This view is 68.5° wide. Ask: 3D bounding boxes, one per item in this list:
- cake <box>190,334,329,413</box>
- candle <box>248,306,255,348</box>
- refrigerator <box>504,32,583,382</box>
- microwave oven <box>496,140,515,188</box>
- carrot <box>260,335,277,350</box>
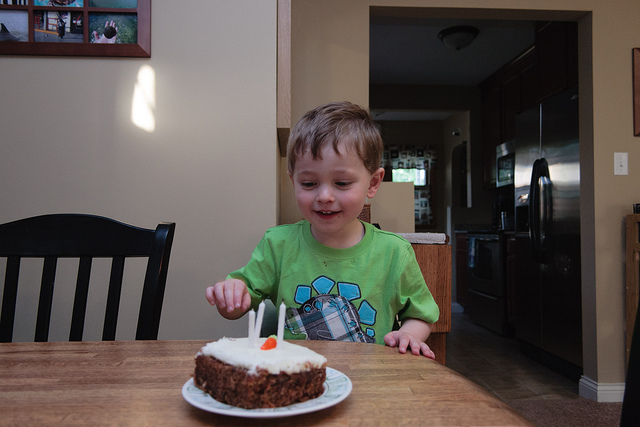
[{"bbox_3d":[-0.150,0.375,1.133,0.343,0.157,0.139,0,1,-1],"label":"cake"},{"bbox_3d":[-0.170,0.284,1.154,0.016,0.093,0.043,-1,2,-9],"label":"candle"},{"bbox_3d":[1.744,-0.085,3.613,0.258,2.520,0.895,0,2,9],"label":"refrigerator"},{"bbox_3d":[2.080,-0.546,5.217,0.126,0.463,0.472,0,1,10],"label":"microwave oven"},{"bbox_3d":[-0.124,0.319,1.160,0.028,0.044,0.029,42,-31,-14],"label":"carrot"}]
